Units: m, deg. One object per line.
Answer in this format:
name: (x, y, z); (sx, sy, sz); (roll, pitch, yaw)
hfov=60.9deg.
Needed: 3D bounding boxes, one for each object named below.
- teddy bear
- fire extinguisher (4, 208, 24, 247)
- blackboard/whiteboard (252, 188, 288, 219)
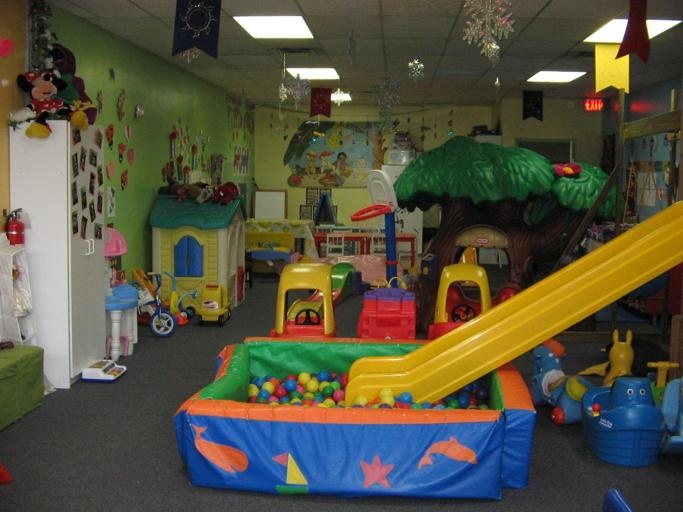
teddy bear: (-2.534, -1.472, 5.137); (0.647, 0.885, 0.822); (-3, 11, -19)
fire extinguisher: (-2.713, -0.243, 4.848); (0.142, 0.296, 0.212); (-5, 12, -29)
blackboard/whiteboard: (-1.514, -1.092, 12.322); (0.619, 0.763, 0.075); (1, -3, -2)
